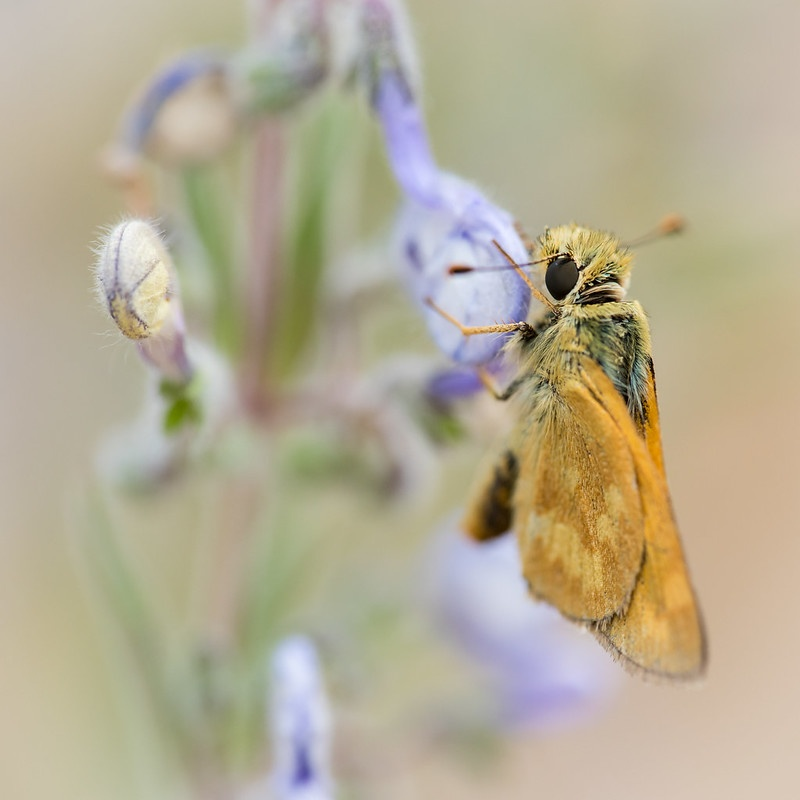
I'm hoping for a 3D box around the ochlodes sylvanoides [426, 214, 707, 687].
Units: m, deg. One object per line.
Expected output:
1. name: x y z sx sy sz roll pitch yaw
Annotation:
1. ochlodes sylvanoides: 0.177 0.056 1.058 0.203 0.510 0.214 -5 3 23
